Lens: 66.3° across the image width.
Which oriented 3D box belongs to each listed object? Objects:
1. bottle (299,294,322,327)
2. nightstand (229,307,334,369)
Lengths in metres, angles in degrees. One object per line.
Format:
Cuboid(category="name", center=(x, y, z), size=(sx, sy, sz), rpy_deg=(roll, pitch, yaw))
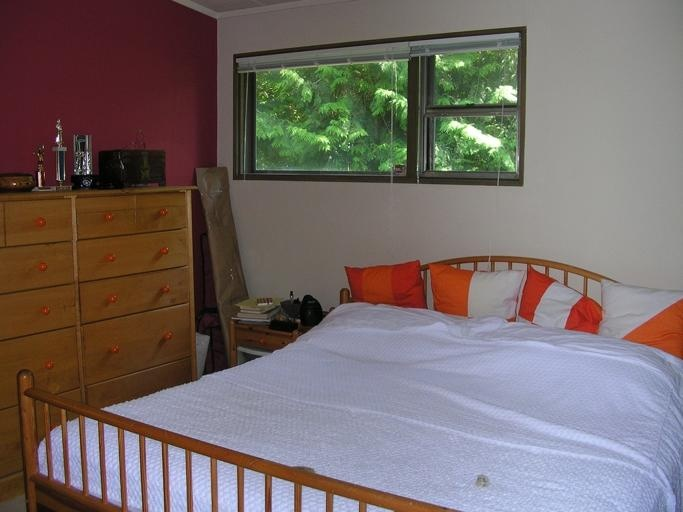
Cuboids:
Cuboid(category="bottle", center=(-0.214, 0.388, 3.709), size=(0.139, 0.199, 0.195), rpy_deg=(1, 7, 10))
Cuboid(category="nightstand", center=(-0.490, 0.460, 3.914), size=(0.635, 0.662, 0.464), rpy_deg=(3, 5, 33))
